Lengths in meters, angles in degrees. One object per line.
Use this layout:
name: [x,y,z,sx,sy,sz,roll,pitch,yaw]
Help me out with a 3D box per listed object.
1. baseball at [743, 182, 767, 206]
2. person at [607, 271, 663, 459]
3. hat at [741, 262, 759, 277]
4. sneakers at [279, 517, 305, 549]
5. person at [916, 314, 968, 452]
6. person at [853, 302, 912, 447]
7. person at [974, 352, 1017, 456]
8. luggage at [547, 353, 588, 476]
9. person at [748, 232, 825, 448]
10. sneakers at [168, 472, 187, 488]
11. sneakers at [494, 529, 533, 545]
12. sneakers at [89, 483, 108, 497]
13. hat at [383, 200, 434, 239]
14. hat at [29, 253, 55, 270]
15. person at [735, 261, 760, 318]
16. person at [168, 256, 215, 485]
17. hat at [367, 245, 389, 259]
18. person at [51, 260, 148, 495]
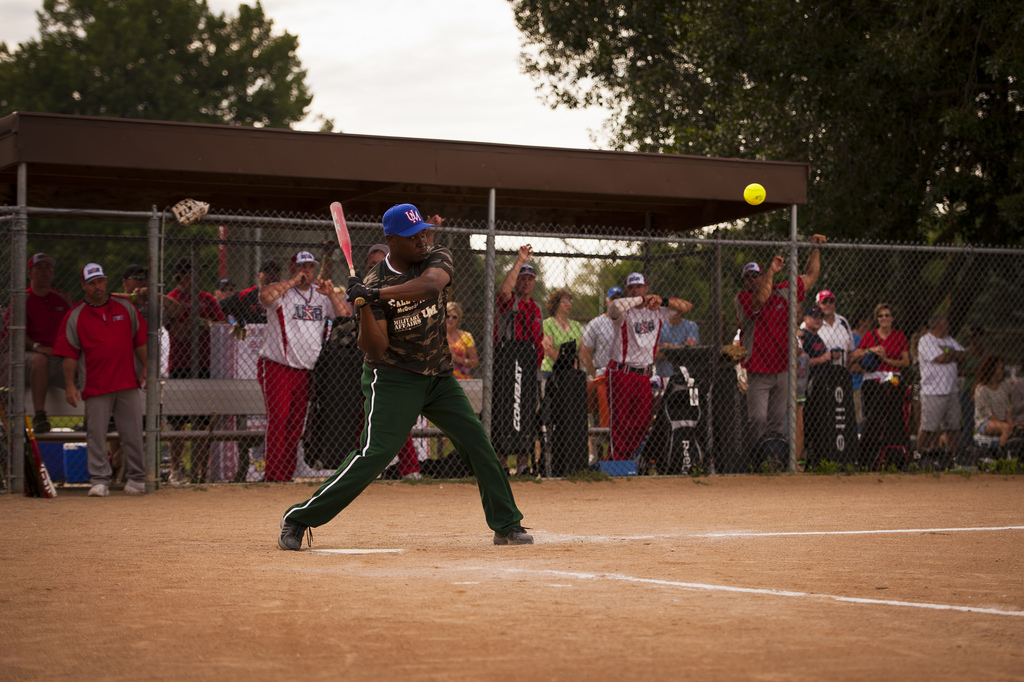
baseball: [3.099,-1.908,15.302,0.271,0.284,0.288,18,-27,32]
person: [1.569,0.480,15.294,0.664,2.151,0.379,-1,-2,7]
hat: [3.080,-0.938,15.631,0.239,0.188,0.394,3,6,37]
sneakers: [-1.801,1.598,9.787,0.227,0.254,0.241,0,-3,-10]
person: [6.044,0.617,16.735,0.687,1.938,0.576,-1,-3,12]
person: [5.067,0.481,16.339,0.716,1.978,1.137,-1,-3,18]
person: [6.883,0.901,16.902,0.598,1.342,0.420,-2,-3,22]
luggage: [0.684,0.885,14.932,0.515,1.683,0.436,-1,-2,2]
person: [3.474,0.020,15.502,0.973,2.755,0.840,-1,-3,0]
sneakers: [-4.241,1.772,15.085,0.228,0.104,0.320,3,-7,-11]
sneakers: [0.005,1.673,10.065,0.305,0.143,0.133,-8,-7,17]
sneakers: [-4.588,1.676,13.213,0.202,0.145,0.365,1,-4,-20]
hat: [-0.857,-0.975,9.702,0.339,0.174,0.221,-7,7,15]
hat: [-5.536,-0.964,13.981,0.205,0.167,0.310,4,-8,-34]
person: [3.108,-0.651,15.641,0.328,0.798,0.469,-1,-3,10]
person: [-4.047,0.361,15.149,0.667,2.899,1.313,0,-3,-16]
hat: [-1.552,-1.065,13.872,0.277,0.137,0.397,1,-7,-1]
person: [-4.596,0.435,13.376,0.941,2.632,0.416,0,-3,-19]
